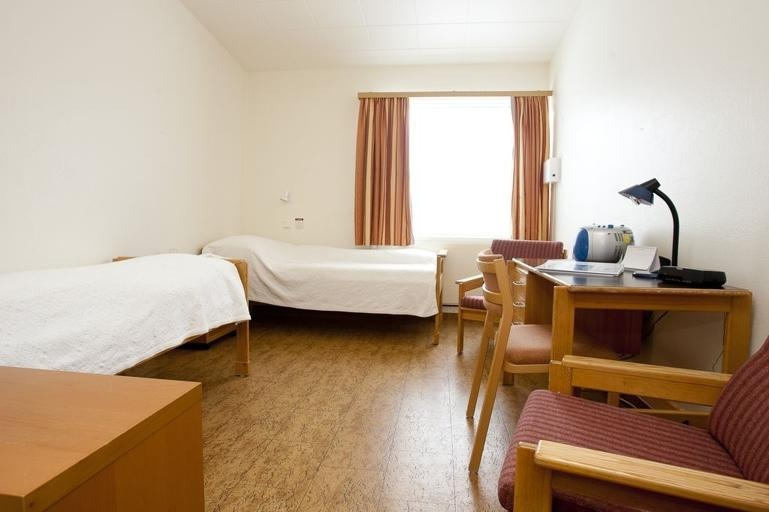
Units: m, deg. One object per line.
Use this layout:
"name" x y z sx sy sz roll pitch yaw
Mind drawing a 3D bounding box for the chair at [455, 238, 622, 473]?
"chair" 0.868 0.544 3.178 0.723 1.307 0.680 1 3 6

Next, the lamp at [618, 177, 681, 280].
"lamp" 1.609 -0.150 3.190 0.308 0.615 0.411 1 1 14
